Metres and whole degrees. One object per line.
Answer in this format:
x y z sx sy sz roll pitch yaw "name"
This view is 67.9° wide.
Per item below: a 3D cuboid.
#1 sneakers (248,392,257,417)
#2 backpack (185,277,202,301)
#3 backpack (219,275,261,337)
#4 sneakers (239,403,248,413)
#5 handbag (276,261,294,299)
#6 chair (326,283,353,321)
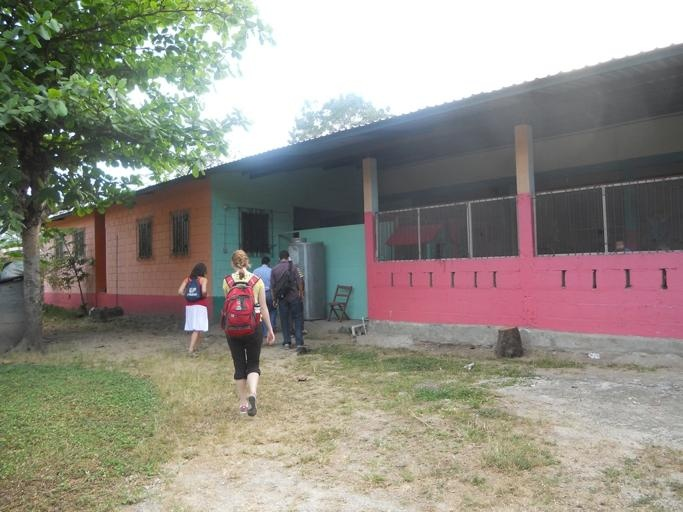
-1.078 1.810 6.165 0.093 0.254 0.096 0 10 1 "sneakers"
-2.718 0.601 9.332 0.390 0.526 0.262 0 -5 -8 "backpack"
-1.229 0.604 6.201 0.477 0.709 0.354 -4 7 -11 "backpack"
-1.216 1.898 6.291 0.061 0.069 0.158 1 -3 -2 "sneakers"
-1.071 0.501 10.050 0.388 0.656 0.665 10 -1 5 "handbag"
0.051 1.247 13.456 0.661 1.282 0.868 -3 -4 32 "chair"
